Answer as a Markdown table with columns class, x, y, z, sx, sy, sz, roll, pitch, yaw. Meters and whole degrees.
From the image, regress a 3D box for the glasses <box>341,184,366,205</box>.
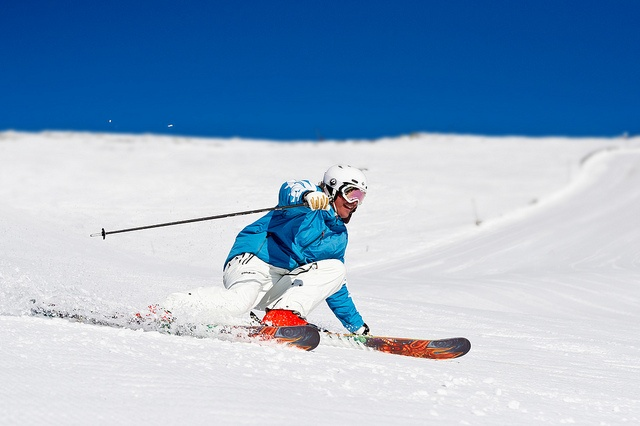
| class | x | y | z | sx | sy | sz | roll | pitch | yaw |
| --- | --- | --- | --- | --- | --- | --- | --- | --- | --- |
| glasses | 0.435 | -0.244 | 11.001 | 0.257 | 0.136 | 0.301 | 17 | -2 | -26 |

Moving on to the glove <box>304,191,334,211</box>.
| class | x | y | z | sx | sy | sz | roll | pitch | yaw |
| --- | --- | --- | --- | --- | --- | --- | --- | --- | --- |
| glove | -0.054 | -0.158 | 10.632 | 0.293 | 0.245 | 0.189 | 0 | 9 | -19 |
